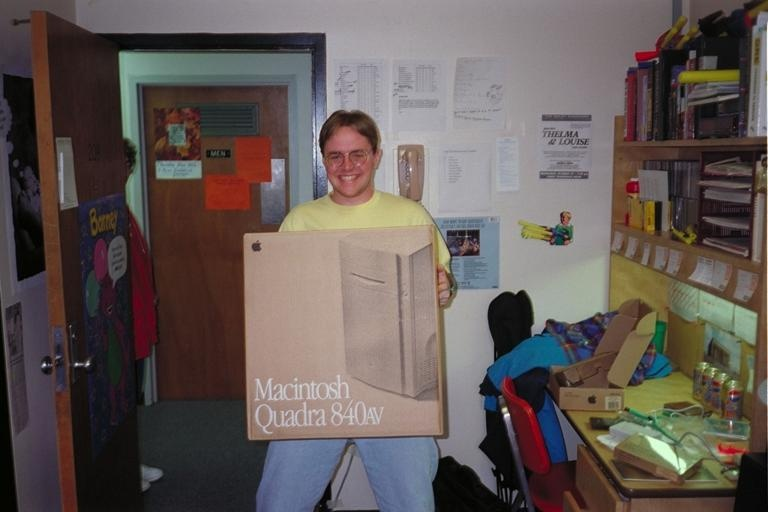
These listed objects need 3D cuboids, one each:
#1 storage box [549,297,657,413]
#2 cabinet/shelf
[{"bbox_3d":[1.241,0.553,3.307,0.690,0.500,0.395,-13,24,-16],"label":"storage box"},{"bbox_3d":[1.618,-0.295,3.108,0.279,0.950,0.980,-1,11,-7],"label":"cabinet/shelf"}]
